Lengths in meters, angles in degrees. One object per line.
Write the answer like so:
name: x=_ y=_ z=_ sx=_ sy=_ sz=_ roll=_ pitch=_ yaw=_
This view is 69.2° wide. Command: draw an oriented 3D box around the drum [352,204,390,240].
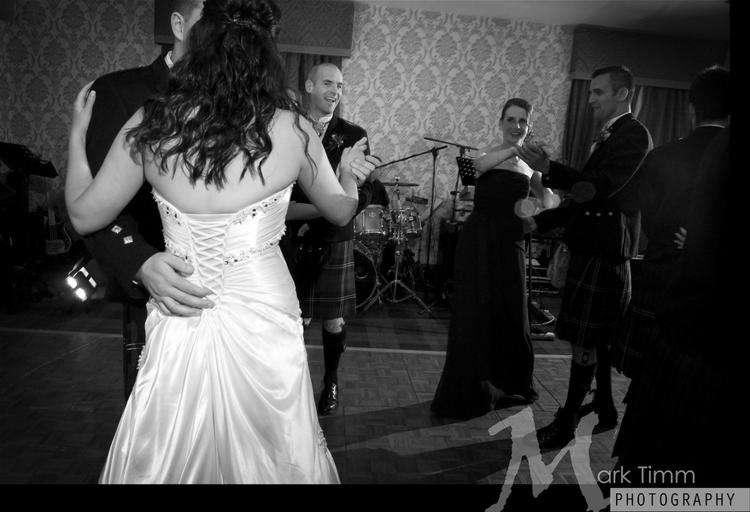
drum: x=-0.023 y=-0.258 z=4.165 sx=0.263 sy=0.189 sz=0.262 roll=1 pitch=-16 yaw=0

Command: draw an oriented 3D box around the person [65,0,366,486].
person: x=-0.446 y=-0.010 z=1.603 sx=0.866 sy=1.439 sz=0.366 roll=0 pitch=11 yaw=-1
